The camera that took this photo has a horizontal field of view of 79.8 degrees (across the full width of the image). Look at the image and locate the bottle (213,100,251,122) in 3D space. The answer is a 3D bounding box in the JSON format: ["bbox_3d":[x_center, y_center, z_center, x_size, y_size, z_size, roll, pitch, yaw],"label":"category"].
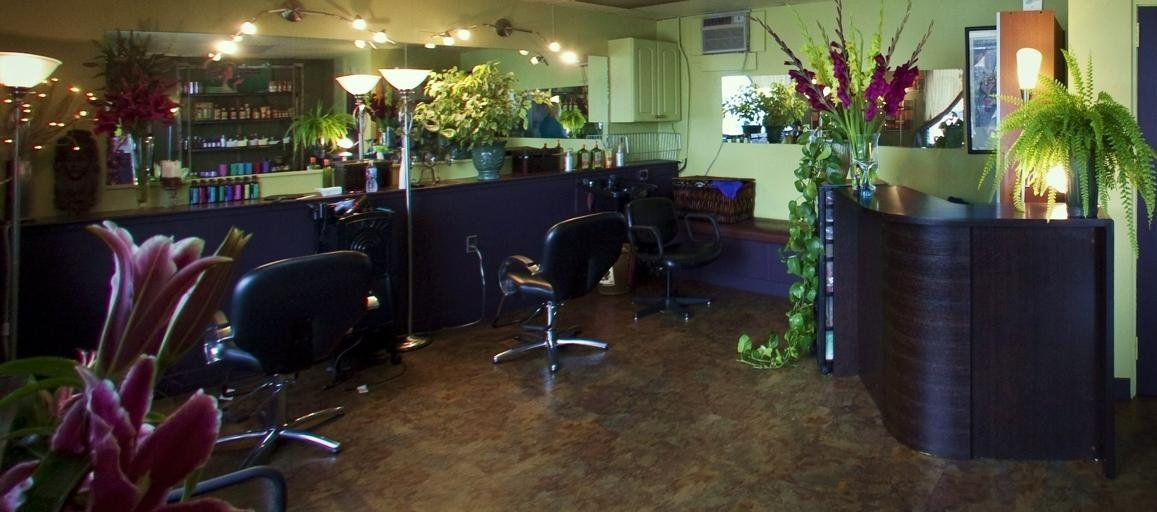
[{"bbox_3d":[-3.791,-1.600,7.646,0.392,0.196,0.055,-5,11,-14],"label":"bottle"}]

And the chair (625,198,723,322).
[{"bbox_3d":[1.208,0.005,9.054,1.337,1.313,1.130,-11,17,-42],"label":"chair"}]

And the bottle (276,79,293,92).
[{"bbox_3d":[-3.357,-1.934,7.840,0.177,0.134,0.041,-5,4,-28],"label":"bottle"}]

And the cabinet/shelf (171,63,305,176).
[{"bbox_3d":[-3.816,-1.533,7.656,1.495,1.427,0.475,-4,7,-35],"label":"cabinet/shelf"}]

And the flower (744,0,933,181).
[{"bbox_3d":[2.853,-1.672,7.165,1.119,1.871,0.470,2,12,22],"label":"flower"}]

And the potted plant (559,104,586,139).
[{"bbox_3d":[-0.067,-1.931,9.879,0.504,0.411,0.436,0,6,-2],"label":"potted plant"}]

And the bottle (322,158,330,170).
[{"bbox_3d":[-2.953,-1.096,8.128,0.123,0.135,0.083,-9,27,-35],"label":"bottle"}]

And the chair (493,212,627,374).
[{"bbox_3d":[-0.263,0.355,7.994,1.364,1.444,1.380,-5,3,-45],"label":"chair"}]

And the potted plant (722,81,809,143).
[{"bbox_3d":[2.707,-2.135,10.306,1.442,0.825,1.114,0,5,-4],"label":"potted plant"}]

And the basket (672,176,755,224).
[{"bbox_3d":[2.088,-0.857,10.132,1.063,0.532,0.783,5,8,39],"label":"basket"}]

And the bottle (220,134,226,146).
[{"bbox_3d":[-3.900,-1.284,7.652,0.055,0.112,0.008,-6,12,-14],"label":"bottle"}]

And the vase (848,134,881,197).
[{"bbox_3d":[2.925,-0.932,7.082,0.249,0.638,0.399,1,12,19],"label":"vase"}]

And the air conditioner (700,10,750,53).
[{"bbox_3d":[2.170,-3.286,10.059,0.729,0.551,0.252,3,6,32],"label":"air conditioner"}]

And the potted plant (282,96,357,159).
[{"bbox_3d":[-2.979,-1.533,8.051,0.690,0.421,0.669,-7,9,-44],"label":"potted plant"}]

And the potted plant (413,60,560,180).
[{"bbox_3d":[-1.395,-1.943,9.481,1.843,1.291,1.500,-5,16,-17],"label":"potted plant"}]

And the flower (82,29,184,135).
[{"bbox_3d":[-4.785,-1.803,7.497,1.024,1.048,1.027,16,17,14],"label":"flower"}]
